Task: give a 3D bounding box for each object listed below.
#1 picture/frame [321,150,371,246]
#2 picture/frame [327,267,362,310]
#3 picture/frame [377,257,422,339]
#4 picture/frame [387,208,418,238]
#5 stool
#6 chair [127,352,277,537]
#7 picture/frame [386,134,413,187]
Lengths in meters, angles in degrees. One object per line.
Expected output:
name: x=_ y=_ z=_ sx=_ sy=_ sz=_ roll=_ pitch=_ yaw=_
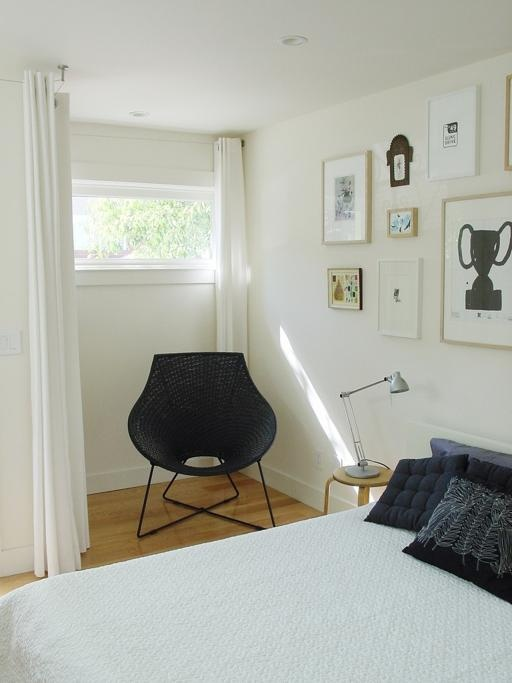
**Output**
picture/frame: x=0.500 y=-0.774 z=2.937 sx=0.081 sy=0.483 sz=0.393 roll=-1 pitch=0 yaw=-27
picture/frame: x=0.501 y=-0.292 z=2.998 sx=0.074 sy=0.231 sz=0.276 roll=-1 pitch=0 yaw=-23
picture/frame: x=0.720 y=-0.220 z=2.625 sx=0.054 sy=0.497 sz=0.355 roll=-4 pitch=8 yaw=-29
picture/frame: x=0.720 y=-0.574 z=2.586 sx=0.021 sy=0.115 sz=0.152 roll=-6 pitch=9 yaw=-37
stool: x=0.455 y=0.784 z=2.643 sx=0.253 sy=0.260 sz=0.264 roll=8 pitch=6 yaw=-13
chair: x=-0.304 y=0.596 z=3.119 sx=0.819 sy=0.966 sz=0.706 roll=0 pitch=6 yaw=-6
picture/frame: x=0.708 y=-0.879 z=2.592 sx=0.008 sy=0.306 sz=0.225 roll=-10 pitch=18 yaw=-29
